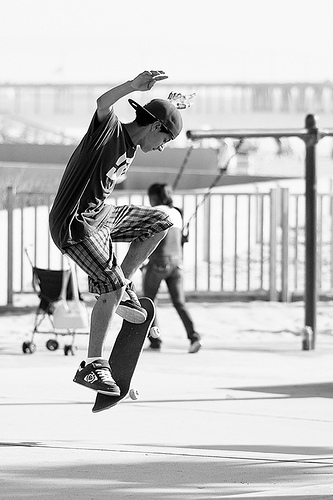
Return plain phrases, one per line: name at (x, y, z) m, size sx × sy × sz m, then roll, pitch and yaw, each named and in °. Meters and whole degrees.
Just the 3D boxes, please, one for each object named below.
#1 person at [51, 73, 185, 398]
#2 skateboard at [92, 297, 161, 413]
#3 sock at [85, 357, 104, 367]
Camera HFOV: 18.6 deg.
person at (-0.300, -0.065, 5.329) m, size 0.616 × 1.629 × 0.774 m, roll 4°, pitch -3°, yaw 12°
skateboard at (-0.223, 0.589, 5.630) m, size 0.205 × 0.810 × 0.134 m, roll 13°, pitch -40°, yaw 11°
sock at (-0.385, 0.594, 5.353) m, size 0.092 × 0.052 × 0.072 m, roll 6°, pitch -3°, yaw -6°
